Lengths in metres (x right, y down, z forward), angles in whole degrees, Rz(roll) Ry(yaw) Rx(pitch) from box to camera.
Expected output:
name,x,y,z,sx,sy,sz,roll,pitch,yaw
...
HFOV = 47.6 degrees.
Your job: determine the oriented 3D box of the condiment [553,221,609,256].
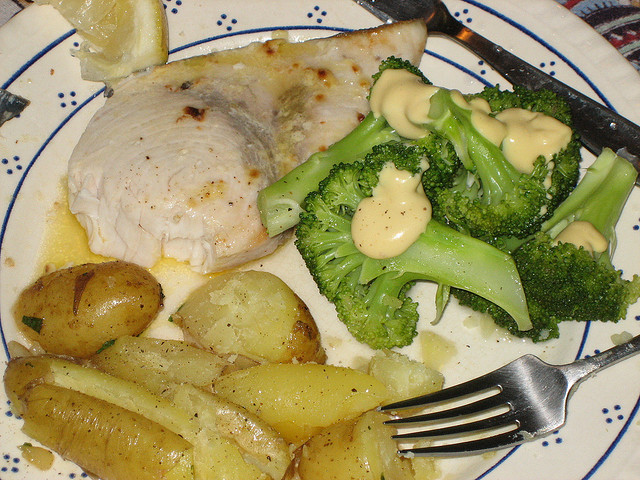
name,x,y,z,sx,sy,sz,roll,pitch,yaw
condiment,1.337,0.001,3.701,0.204,0.085,0.212,-34,69,-7
